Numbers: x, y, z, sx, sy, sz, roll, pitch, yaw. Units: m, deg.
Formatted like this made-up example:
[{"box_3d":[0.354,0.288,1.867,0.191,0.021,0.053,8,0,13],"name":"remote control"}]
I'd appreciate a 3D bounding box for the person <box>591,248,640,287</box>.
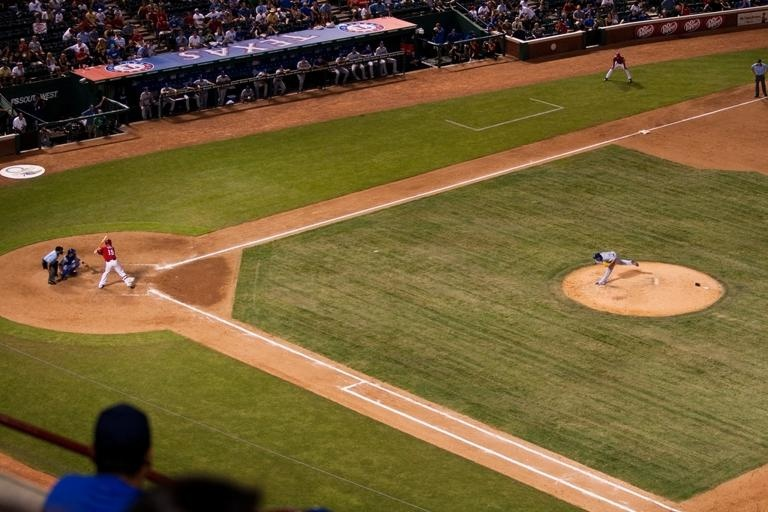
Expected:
[{"box_3d":[8.918,0.506,33.007,2.090,0.964,0.670,-22,42,-5],"name":"person"}]
